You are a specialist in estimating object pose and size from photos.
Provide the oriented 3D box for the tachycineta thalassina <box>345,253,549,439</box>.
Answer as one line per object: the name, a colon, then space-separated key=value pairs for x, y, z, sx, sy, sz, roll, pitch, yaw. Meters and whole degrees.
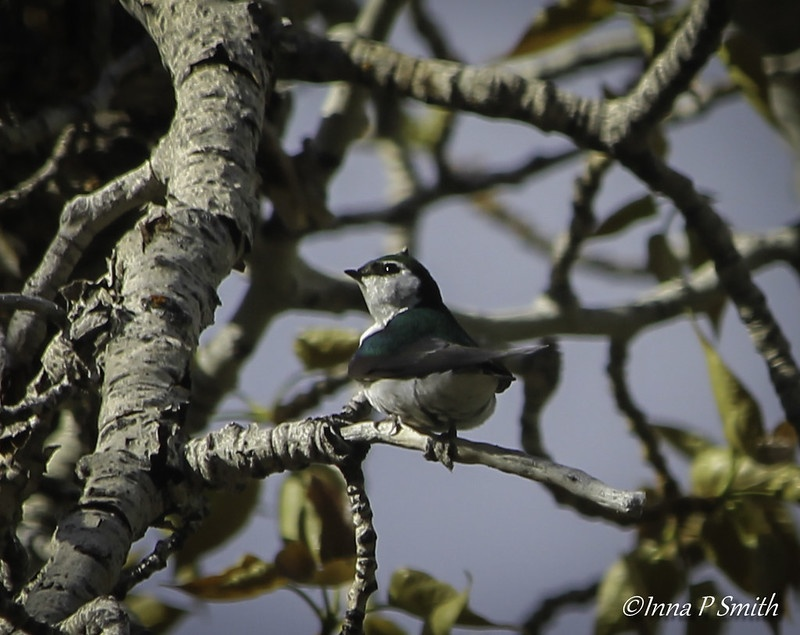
tachycineta thalassina: x=0.077 y=0.055 z=4.059 sx=0.303 sy=0.474 sz=0.493 roll=11 pitch=-15 yaw=-39
